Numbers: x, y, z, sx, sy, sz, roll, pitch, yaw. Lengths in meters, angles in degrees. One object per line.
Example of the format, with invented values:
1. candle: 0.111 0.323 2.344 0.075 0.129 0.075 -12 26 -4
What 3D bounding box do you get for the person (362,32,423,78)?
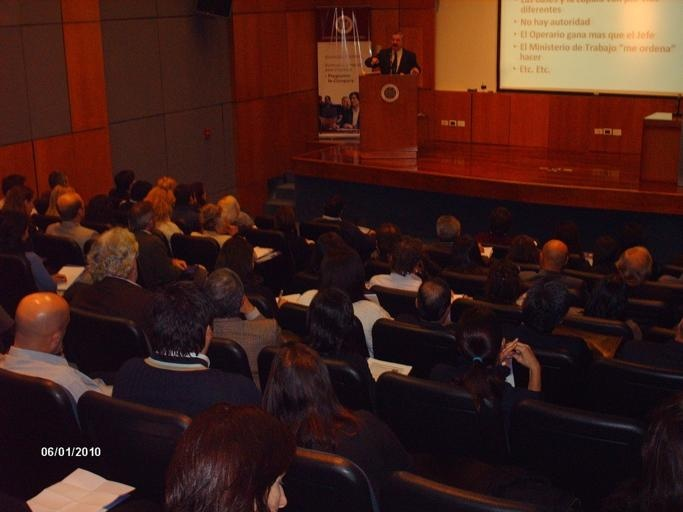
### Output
1. person: 0.832 -3.163 8.462 0.721 0.702 0.983 -6 12 -33
